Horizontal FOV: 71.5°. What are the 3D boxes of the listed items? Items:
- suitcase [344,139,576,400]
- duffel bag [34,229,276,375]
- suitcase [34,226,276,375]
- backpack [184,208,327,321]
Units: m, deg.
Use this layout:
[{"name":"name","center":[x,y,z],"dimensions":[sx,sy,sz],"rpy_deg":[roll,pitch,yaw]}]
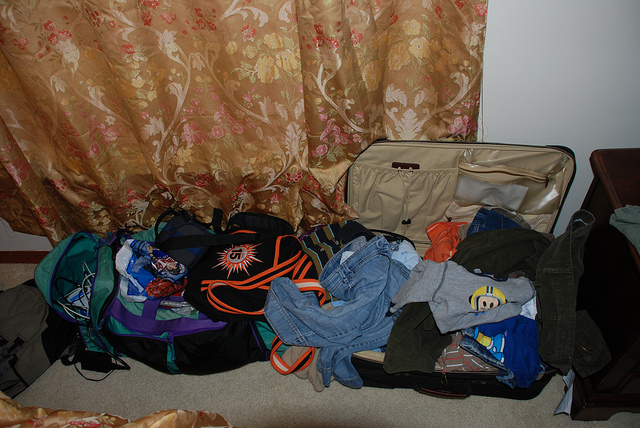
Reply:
[{"name":"suitcase","center":[0.573,0.234,1.782],"dimensions":[0.787,0.774,0.678],"rpy_deg":[5,40,5]},{"name":"duffel bag","center":[-0.733,0.442,1.978],"dimensions":[0.905,0.351,0.614],"rpy_deg":[19,26,-10]},{"name":"suitcase","center":[-0.735,0.394,1.925],"dimensions":[0.871,0.334,0.619],"rpy_deg":[24,43,-4]},{"name":"backpack","center":[-0.274,0.211,1.924],"dimensions":[0.594,0.306,0.372],"rpy_deg":[-1,28,-2]}]
